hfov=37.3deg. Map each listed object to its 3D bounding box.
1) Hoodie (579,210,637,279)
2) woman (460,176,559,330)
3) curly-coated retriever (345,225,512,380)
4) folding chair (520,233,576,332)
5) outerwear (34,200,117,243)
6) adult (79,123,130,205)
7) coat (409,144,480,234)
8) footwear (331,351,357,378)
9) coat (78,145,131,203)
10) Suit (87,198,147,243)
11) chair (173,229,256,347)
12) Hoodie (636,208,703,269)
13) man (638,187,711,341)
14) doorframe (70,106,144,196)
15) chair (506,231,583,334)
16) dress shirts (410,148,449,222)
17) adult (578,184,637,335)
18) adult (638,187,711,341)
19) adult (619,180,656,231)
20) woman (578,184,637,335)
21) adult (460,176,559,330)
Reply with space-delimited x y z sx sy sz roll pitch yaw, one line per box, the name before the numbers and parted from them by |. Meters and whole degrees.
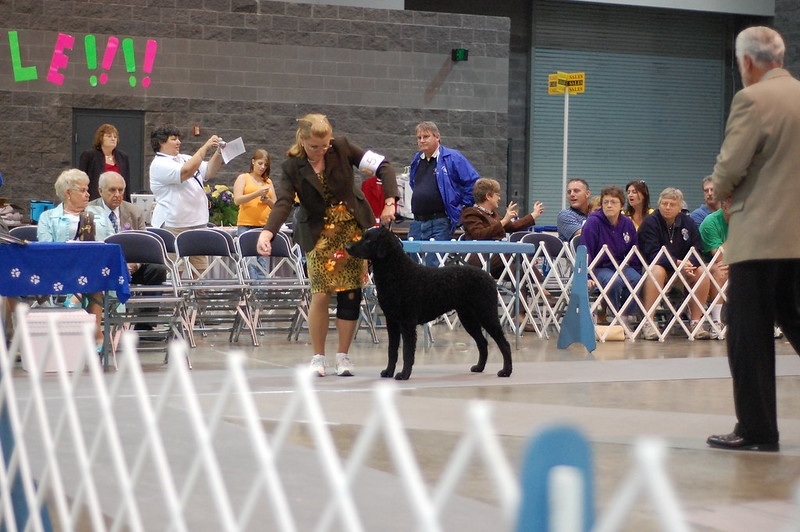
Hoodie | 2.344 -0.228 13.119 0.729 0.827 0.455 2 -8 -21
woman | 1.292 -0.488 13.555 1.231 2.116 0.858 -4 0 9
curly-coated retriever | 0.249 0.331 10.428 1.544 1.243 0.481 2 -1 -22
folding chair | 1.811 -0.098 14.117 0.475 0.786 0.583 -7 6 24
outerwear | -3.163 -0.295 11.517 0.769 0.602 0.420 1 -10 -28
adult | -3.672 -1.081 14.780 0.760 1.372 0.395 -5 10 -39
coat | 0.467 -0.855 13.179 0.892 0.944 0.537 -8 0 23
footwear | -0.500 0.885 10.707 0.204 0.214 0.479 1 -4 -11
coat | -3.610 -1.125 14.803 0.680 0.671 0.388 -6 -1 -23
Suit | -2.869 -0.462 11.916 0.489 0.454 0.266 5 -19 -40
chair | -2.009 0.192 12.642 0.900 1.174 1.023 -3 8 4
Hoodie | 3.128 -0.289 13.385 0.700 0.728 0.655 1 -3 19
man | 3.137 -0.050 13.252 0.848 1.684 0.651 0 3 -6
doorframe | -4.498 -1.721 18.257 1.183 1.524 0.078 -2 -24 -13
chair | 1.716 0.180 13.868 0.952 1.517 1.150 0 5 -10
dress shirts | 0.368 -0.909 13.137 0.645 0.754 0.395 -1 2 26
adult | 2.400 -0.067 13.230 0.674 1.675 0.854 0 3 10
adult | 3.135 -0.050 13.256 0.862 1.684 0.629 -1 3 -9
adult | 2.914 -0.757 14.267 0.334 0.599 0.434 -4 4 -35
woman | 2.404 -0.067 13.238 0.677 1.675 0.875 0 2 10
adult | 1.252 -0.473 13.637 1.231 2.116 0.858 -4 0 9
